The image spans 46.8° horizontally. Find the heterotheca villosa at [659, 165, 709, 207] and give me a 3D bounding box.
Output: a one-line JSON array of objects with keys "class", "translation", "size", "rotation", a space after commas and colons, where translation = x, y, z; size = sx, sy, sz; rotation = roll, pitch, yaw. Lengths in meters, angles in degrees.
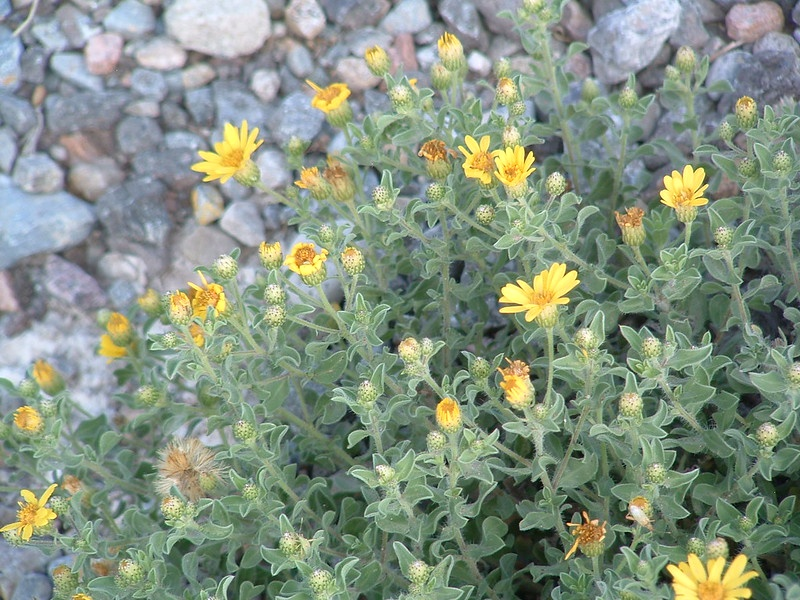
[{"class": "heterotheca villosa", "translation": [1.252, -0.526, 4.019], "size": [0.191, 0.223, 0.105], "rotation": [3, 84, -10]}]

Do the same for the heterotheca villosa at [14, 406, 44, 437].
[{"class": "heterotheca villosa", "translation": [-1.703, 0.555, 4.281], "size": [0.111, 0.140, 0.136], "rotation": [-12, 64, 40]}]

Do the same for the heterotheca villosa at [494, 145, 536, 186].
[{"class": "heterotheca villosa", "translation": [0.509, -0.605, 4.059], "size": [0.174, 0.196, 0.090], "rotation": [4, 77, 2]}]

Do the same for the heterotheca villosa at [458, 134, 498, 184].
[{"class": "heterotheca villosa", "translation": [0.365, -0.673, 4.176], "size": [0.203, 0.213, 0.107], "rotation": [-11, 75, 38]}]

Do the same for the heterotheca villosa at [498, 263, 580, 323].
[{"class": "heterotheca villosa", "translation": [0.579, 0.015, 3.809], "size": [0.326, 0.159, 0.335], "rotation": [10, 27, 35]}]

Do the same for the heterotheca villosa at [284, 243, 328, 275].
[{"class": "heterotheca villosa", "translation": [-0.424, -0.167, 4.110], "size": [0.144, 0.069, 0.162], "rotation": [3, 48, 34]}]

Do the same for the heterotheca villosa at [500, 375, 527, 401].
[{"class": "heterotheca villosa", "translation": [0.467, 0.356, 3.767], "size": [0.093, 0.071, 0.108], "rotation": [-24, 70, 4]}]
